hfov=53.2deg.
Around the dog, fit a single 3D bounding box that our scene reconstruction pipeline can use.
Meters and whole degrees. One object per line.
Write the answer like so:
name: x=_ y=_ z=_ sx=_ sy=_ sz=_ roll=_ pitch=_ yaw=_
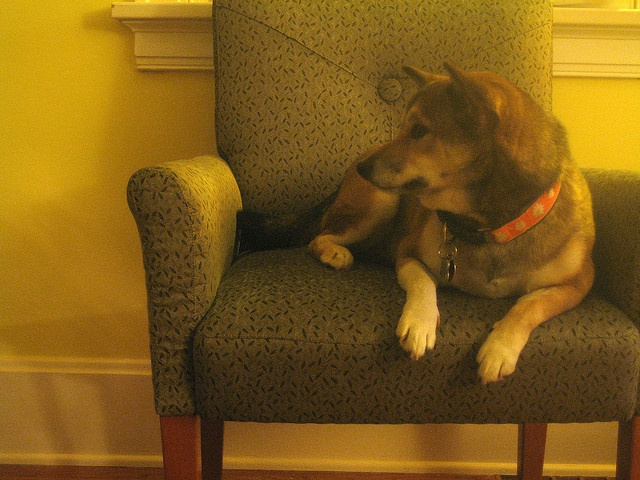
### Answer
dog: x=0.290 y=-0.164 z=1.729 sx=0.564 sy=0.606 sz=1.037 roll=-10 pitch=19 yaw=-22
